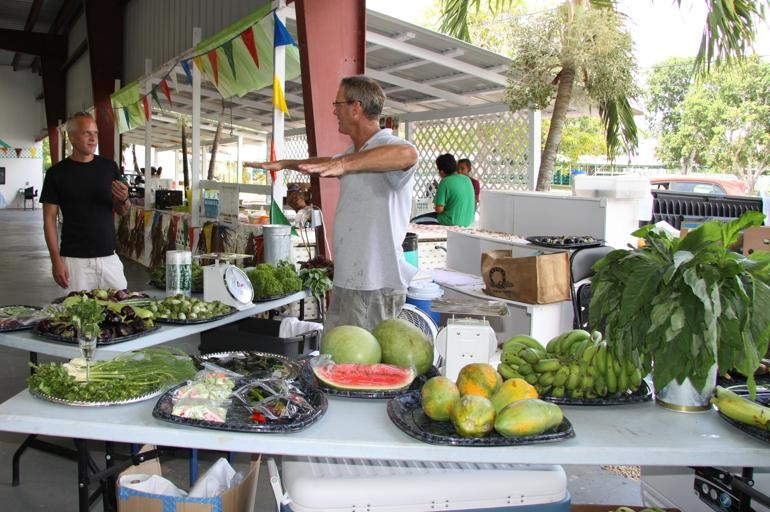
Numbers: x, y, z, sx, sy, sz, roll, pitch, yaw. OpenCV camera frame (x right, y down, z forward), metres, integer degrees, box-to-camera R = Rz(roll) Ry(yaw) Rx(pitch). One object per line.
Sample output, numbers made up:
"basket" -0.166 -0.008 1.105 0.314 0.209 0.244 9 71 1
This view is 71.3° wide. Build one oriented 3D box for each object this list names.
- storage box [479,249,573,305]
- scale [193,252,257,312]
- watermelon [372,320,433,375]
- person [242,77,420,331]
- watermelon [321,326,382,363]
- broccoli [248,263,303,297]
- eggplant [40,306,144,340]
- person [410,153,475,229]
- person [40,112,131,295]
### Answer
"storage box" 1.005 0.145 3.833 0.635 0.369 0.260 2 5 14
"scale" -1.010 0.161 3.372 0.315 0.344 0.282 2 5 17
"watermelon" 0.095 0.334 2.220 0.256 0.195 0.252 7 8 13
"person" -0.274 -0.273 2.913 0.938 1.461 1.080 -1 5 -14
"watermelon" -0.131 0.350 2.157 0.166 0.128 0.174 2 -9 37
"broccoli" -0.770 0.165 3.717 0.233 0.138 0.294 5 7 -16
"eggplant" -1.478 0.335 2.740 0.558 0.152 0.253 -2 5 -23
"person" 0.825 -0.878 7.082 0.766 0.961 0.687 10 12 -7
"person" -2.200 -0.388 3.942 0.551 1.279 0.305 -3 6 -31
